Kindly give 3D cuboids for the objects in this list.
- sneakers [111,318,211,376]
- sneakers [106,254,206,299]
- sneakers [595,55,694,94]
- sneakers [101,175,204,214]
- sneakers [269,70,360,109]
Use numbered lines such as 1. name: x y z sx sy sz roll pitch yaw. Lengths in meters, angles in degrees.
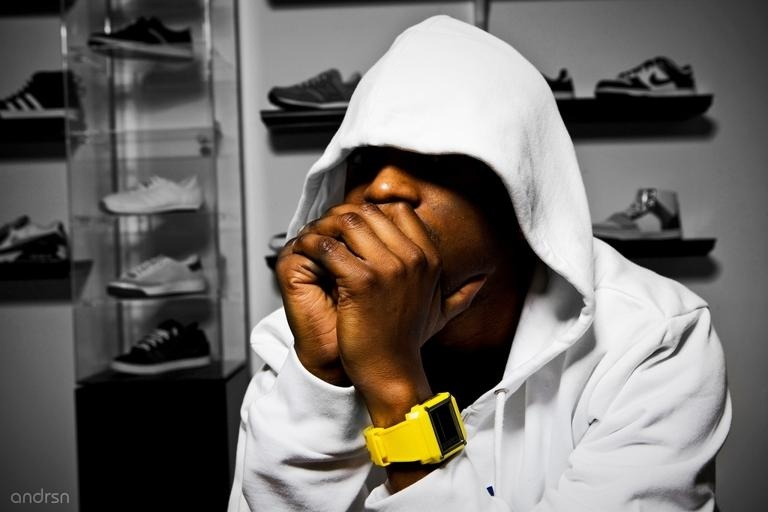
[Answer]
1. sneakers: -0.985 0.411 3.435 0.493 0.242 0.177 1 1 -42
2. sneakers: -1.021 0.100 3.409 0.453 0.199 0.170 1 -2 -12
3. sneakers: 1.177 -0.774 3.279 0.464 0.205 0.174 3 9 -1
4. sneakers: -1.027 -0.259 3.319 0.437 0.188 0.177 0 -4 -10
5. sneakers: -0.298 -0.754 3.448 0.488 0.232 0.189 0 3 -10
